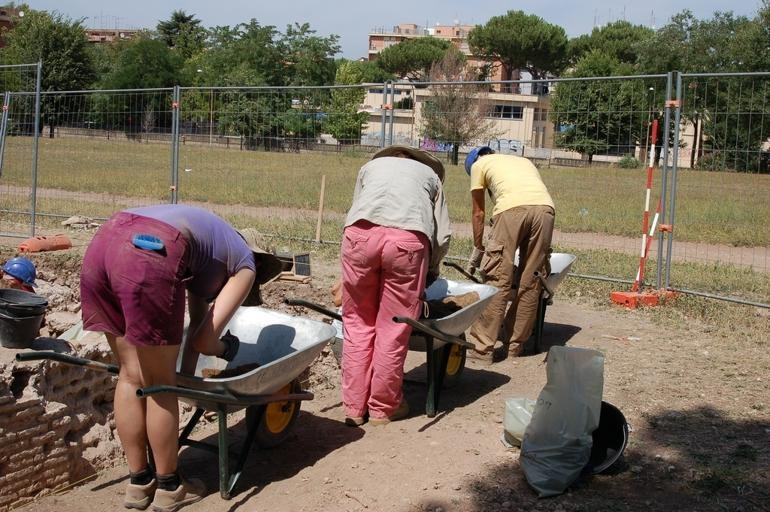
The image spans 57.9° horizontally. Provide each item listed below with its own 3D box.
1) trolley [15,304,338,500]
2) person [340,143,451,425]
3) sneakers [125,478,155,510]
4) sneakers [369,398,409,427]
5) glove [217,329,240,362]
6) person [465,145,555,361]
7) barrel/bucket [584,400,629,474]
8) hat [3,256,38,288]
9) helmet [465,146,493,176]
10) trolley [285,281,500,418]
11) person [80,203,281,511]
[{"bbox_3d":[-1.470,1.236,5.801,1.431,1.303,2.529,5,10,19],"label":"trolley"},{"bbox_3d":[0.049,0.349,6.400,0.907,2.481,0.487,2,8,1],"label":"person"},{"bbox_3d":[-1.973,1.921,5.649,0.134,0.160,0.361,1,6,9],"label":"sneakers"},{"bbox_3d":[0.041,1.466,6.571,0.406,0.185,0.147,-19,26,-42],"label":"sneakers"},{"bbox_3d":[-1.302,0.765,5.797,0.144,0.177,0.239,-18,12,5],"label":"glove"},{"bbox_3d":[1.350,-0.016,7.730,0.947,2.382,0.704,4,8,12],"label":"person"},{"bbox_3d":[1.781,1.473,5.579,0.271,0.491,0.389,6,8,25],"label":"barrel/bucket"},{"bbox_3d":[-3.975,0.145,7.509,0.343,0.203,0.279,18,6,-20],"label":"hat"},{"bbox_3d":[1.044,-1.126,8.006,0.264,0.372,0.154,29,5,-3],"label":"helmet"},{"bbox_3d":[0.276,0.837,6.767,1.121,1.314,2.315,2,9,35],"label":"trolley"},{"bbox_3d":[-1.713,0.832,5.523,1.229,2.467,0.599,-3,9,-33],"label":"person"}]
